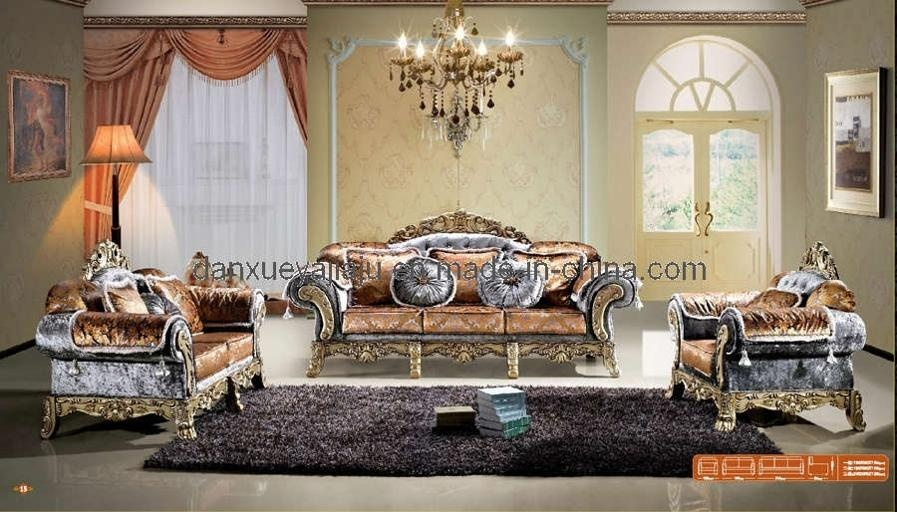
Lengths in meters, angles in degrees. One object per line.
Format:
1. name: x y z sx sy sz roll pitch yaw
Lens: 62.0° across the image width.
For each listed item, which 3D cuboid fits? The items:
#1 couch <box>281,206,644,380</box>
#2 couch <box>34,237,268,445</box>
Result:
1. couch: 0.157 0.544 8.025 3.253 1.364 0.937 -1 6 2
2. couch: -2.667 0.780 7.168 1.575 1.702 2.503 0 1 6
